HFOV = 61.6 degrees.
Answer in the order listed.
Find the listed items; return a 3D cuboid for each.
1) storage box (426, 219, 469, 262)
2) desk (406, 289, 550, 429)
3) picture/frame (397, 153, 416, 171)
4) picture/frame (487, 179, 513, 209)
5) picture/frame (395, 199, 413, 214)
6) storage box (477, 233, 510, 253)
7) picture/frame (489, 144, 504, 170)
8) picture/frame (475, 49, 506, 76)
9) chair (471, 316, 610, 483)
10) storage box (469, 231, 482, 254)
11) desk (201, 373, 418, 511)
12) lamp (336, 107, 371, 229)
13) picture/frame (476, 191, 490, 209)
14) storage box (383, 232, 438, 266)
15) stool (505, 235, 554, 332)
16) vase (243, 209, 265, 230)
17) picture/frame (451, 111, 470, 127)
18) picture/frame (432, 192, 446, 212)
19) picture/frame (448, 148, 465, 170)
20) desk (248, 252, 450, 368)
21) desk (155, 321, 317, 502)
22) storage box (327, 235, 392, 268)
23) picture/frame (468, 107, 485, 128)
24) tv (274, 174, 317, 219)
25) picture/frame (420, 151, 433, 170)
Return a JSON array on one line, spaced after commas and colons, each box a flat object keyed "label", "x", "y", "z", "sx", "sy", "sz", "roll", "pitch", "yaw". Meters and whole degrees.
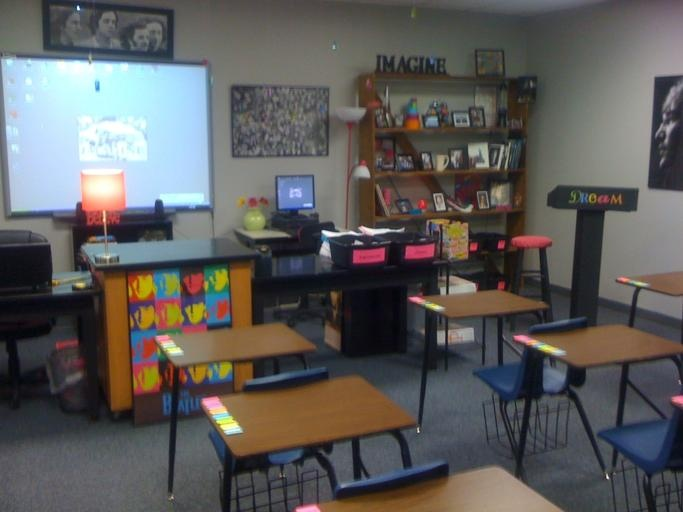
[{"label": "storage box", "x": 1.093, "y": -0.145, "z": 5.917, "sx": 0.386, "sy": 0.538, "sz": 0.280, "roll": -7, "pitch": 10, "yaw": -37}, {"label": "desk", "x": 1.042, "y": 0.546, "z": 4.462, "sx": 0.950, "sy": 0.945, "sz": 1.187, "roll": -3, "pitch": 11, "yaw": -21}, {"label": "picture/frame", "x": 0.813, "y": -1.194, "z": 7.287, "sx": 0.219, "sy": 0.169, "sz": 0.030, "roll": -1, "pitch": 0, "yaw": -28}, {"label": "picture/frame", "x": 2.145, "y": -0.839, "z": 7.758, "sx": 0.350, "sy": 0.436, "sz": 0.053, "roll": -1, "pitch": 7, "yaw": -12}, {"label": "picture/frame", "x": 0.798, "y": -0.646, "z": 7.436, "sx": 0.192, "sy": 0.217, "sz": 0.021, "roll": 3, "pitch": -20, "yaw": -27}, {"label": "storage box", "x": 1.979, "y": -0.179, "z": 7.526, "sx": 0.244, "sy": 0.177, "sz": 0.374, "roll": -5, "pitch": 10, "yaw": -21}, {"label": "picture/frame", "x": 2.058, "y": -1.312, "z": 7.607, "sx": 0.198, "sy": 0.375, "sz": 0.260, "roll": 0, "pitch": 16, "yaw": -9}, {"label": "picture/frame", "x": 1.946, "y": -2.548, "z": 7.532, "sx": 0.409, "sy": 0.376, "sz": 0.043, "roll": -1, "pitch": 2, "yaw": -13}, {"label": "chair", "x": 1.395, "y": 1.033, "z": 3.951, "sx": 0.631, "sy": 1.031, "sz": 0.733, "roll": -10, "pitch": 23, "yaw": -18}, {"label": "storage box", "x": 1.741, "y": -0.152, "z": 7.505, "sx": 0.131, "sy": 0.245, "sz": 0.351, "roll": 0, "pitch": 13, "yaw": 12}, {"label": "desk", "x": -0.167, "y": 0.548, "z": 2.752, "sx": 0.847, "sy": 0.674, "sz": 0.653, "roll": -8, "pitch": 16, "yaw": -27}, {"label": "lamp", "x": 0.156, "y": -1.081, "z": 7.196, "sx": 0.403, "sy": 1.544, "sz": 0.698, "roll": -3, "pitch": 12, "yaw": -1}, {"label": "picture/frame", "x": 1.907, "y": -0.754, "z": 7.707, "sx": 0.227, "sy": 0.341, "sz": 0.033, "roll": -2, "pitch": 4, "yaw": -15}, {"label": "storage box", "x": 0.631, "y": -0.061, "z": 5.118, "sx": 0.431, "sy": 0.252, "sz": 0.345, "roll": -2, "pitch": 13, "yaw": 3}, {"label": "stool", "x": 2.125, "y": 0.298, "z": 6.415, "sx": 0.547, "sy": 0.999, "sz": 0.568, "roll": -6, "pitch": 9, "yaw": -42}, {"label": "vase", "x": -1.040, "y": -0.462, "z": 6.974, "sx": 0.235, "sy": 0.249, "sz": 0.245, "roll": 3, "pitch": 6, "yaw": 27}, {"label": "picture/frame", "x": 1.537, "y": -1.781, "z": 7.439, "sx": 0.203, "sy": 0.223, "sz": 0.029, "roll": 0, "pitch": -2, "yaw": -13}, {"label": "picture/frame", "x": 1.297, "y": -0.716, "z": 7.583, "sx": 0.159, "sy": 0.252, "sz": 0.071, "roll": -10, "pitch": -6, "yaw": -12}, {"label": "picture/frame", "x": 1.495, "y": -1.269, "z": 7.501, "sx": 0.255, "sy": 0.308, "sz": 0.038, "roll": -4, "pitch": 7, "yaw": -30}, {"label": "desk", "x": -0.027, "y": 0.300, "z": 5.242, "sx": 1.067, "sy": 0.798, "sz": 1.449, "roll": -4, "pitch": 9, "yaw": -25}, {"label": "desk", "x": -0.675, "y": 0.663, "z": 3.742, "sx": 1.161, "sy": 0.981, "sz": 0.962, "roll": -7, "pitch": 24, "yaw": -23}, {"label": "storage box", "x": 0.169, "y": -0.043, "z": 4.995, "sx": 0.501, "sy": 0.253, "sz": 0.309, "roll": -6, "pitch": 13, "yaw": -15}, {"label": "picture/frame", "x": 1.795, "y": -1.847, "z": 7.579, "sx": 0.264, "sy": 0.251, "sz": 0.128, "roll": -8, "pitch": 13, "yaw": -21}, {"label": "tv", "x": -0.592, "y": -0.739, "z": 7.052, "sx": 0.505, "sy": 0.478, "sz": 0.070, "roll": -3, "pitch": 6, "yaw": -23}, {"label": "picture/frame", "x": 1.089, "y": -1.225, "z": 7.371, "sx": 0.203, "sy": 0.246, "sz": 0.125, "roll": -9, "pitch": 8, "yaw": -22}]
